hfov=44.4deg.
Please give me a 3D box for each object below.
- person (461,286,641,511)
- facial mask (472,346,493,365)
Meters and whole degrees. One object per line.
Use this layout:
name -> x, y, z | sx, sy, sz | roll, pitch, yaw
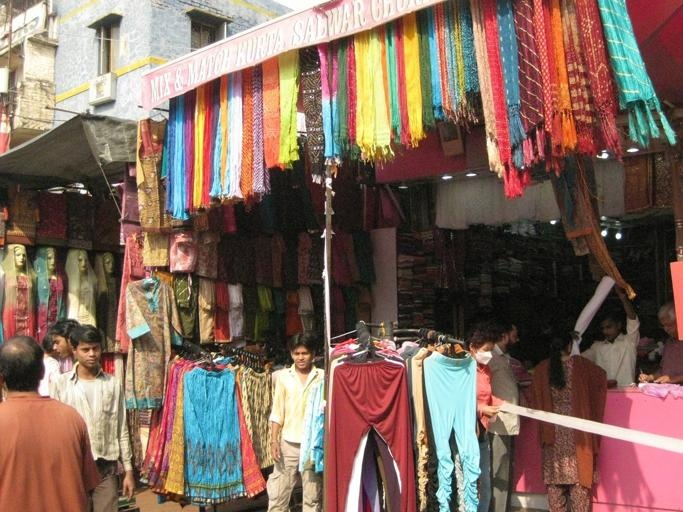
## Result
person -> 2.209, 1.298, 7.629 | 0.887, 2.122, 0.566 | -1, -6, 7
facial mask -> 1.175, 0.821, 6.996 | 0.154, 0.088, 0.154 | 17, 0, 34
